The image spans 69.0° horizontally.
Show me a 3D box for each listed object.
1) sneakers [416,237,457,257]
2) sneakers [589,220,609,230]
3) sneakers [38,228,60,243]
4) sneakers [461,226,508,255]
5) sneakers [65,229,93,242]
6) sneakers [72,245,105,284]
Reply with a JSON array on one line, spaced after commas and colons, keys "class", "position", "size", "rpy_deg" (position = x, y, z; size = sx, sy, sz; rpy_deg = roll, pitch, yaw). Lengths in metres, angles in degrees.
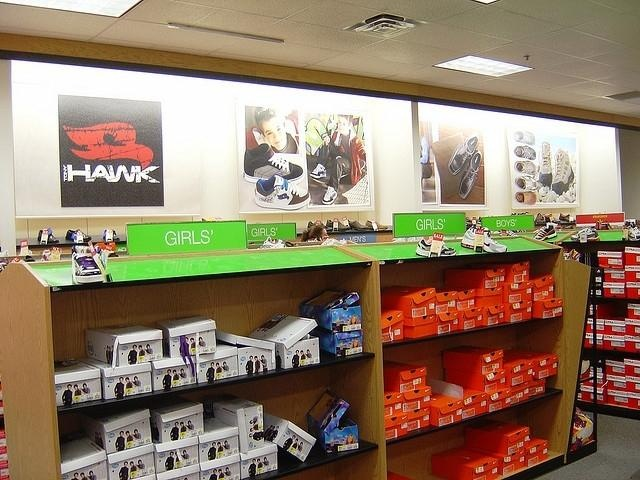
[{"class": "sneakers", "position": [0.912, 0.055, 3.690], "size": [0.377, 0.182, 0.148], "rpy_deg": [1, 1, -19]}, {"class": "sneakers", "position": [3.952, -0.208, 6.666], "size": [0.210, 0.081, 0.164], "rpy_deg": [1, -2, -33]}, {"class": "sneakers", "position": [-3.981, -0.053, 6.814], "size": [0.186, 0.202, 0.264], "rpy_deg": [6, -2, 41]}, {"class": "sneakers", "position": [1.422, 0.003, 3.966], "size": [0.438, 0.226, 0.160], "rpy_deg": [8, 5, 17]}, {"class": "sneakers", "position": [-3.680, -0.065, 7.093], "size": [0.385, 0.174, 0.170], "rpy_deg": [0, 2, 21]}, {"class": "sneakers", "position": [-1.112, 0.120, 2.240], "size": [0.108, 0.094, 0.212], "rpy_deg": [-4, 9, -25]}]
